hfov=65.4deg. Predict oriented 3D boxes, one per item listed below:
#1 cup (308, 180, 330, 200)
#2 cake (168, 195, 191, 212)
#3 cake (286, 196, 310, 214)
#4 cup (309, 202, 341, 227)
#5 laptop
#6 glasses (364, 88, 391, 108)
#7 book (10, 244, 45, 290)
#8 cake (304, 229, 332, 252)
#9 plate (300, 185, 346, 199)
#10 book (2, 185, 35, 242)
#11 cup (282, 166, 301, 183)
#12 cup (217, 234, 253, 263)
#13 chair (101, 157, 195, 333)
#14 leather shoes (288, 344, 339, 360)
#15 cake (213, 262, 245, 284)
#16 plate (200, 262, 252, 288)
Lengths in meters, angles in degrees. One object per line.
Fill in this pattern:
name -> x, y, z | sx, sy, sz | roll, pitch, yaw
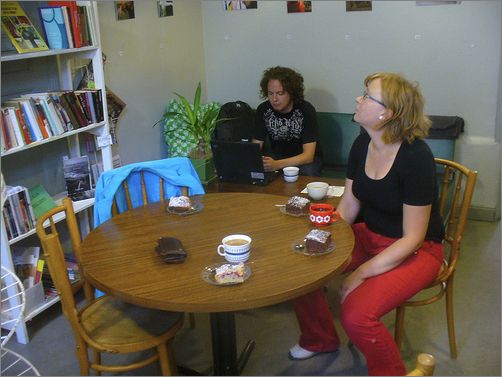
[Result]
cup -> 0.425, 0.000, 2.458 | 0.114, 0.083, 0.115 | -2, 23, 1
cake -> -0.400, 0.079, 2.143 | 0.088, 0.027, 0.091 | 0, 29, 4
cake -> 0.252, 0.074, 2.100 | 0.093, 0.058, 0.095 | 9, 25, 30
cup -> 0.364, 0.121, 1.996 | 0.101, 0.070, 0.134 | -10, 19, -27
laptop -> -0.076, -0.203, 2.961 | 0.348, 0.331, 0.380 | 6, 19, 26
glasses -> 0.641, -0.453, 1.985 | 0.096, 0.028, 0.092 | 25, 13, -17
book -> -1.499, 0.519, 2.611 | 0.197, 0.277, 0.083 | -2, 5, -5
cake -> 0.303, 0.228, 1.759 | 0.081, 0.058, 0.117 | 5, 17, 24
plate -> 0.508, 0.013, 2.635 | 0.184, 0.073, 0.120 | 4, 12, 25
book -> -1.513, 0.141, 2.528 | 0.155, 0.284, 0.240 | -12, 23, -26
cup -> 0.298, -0.107, 2.949 | 0.106, 0.081, 0.108 | -3, 16, 1
cup -> -0.068, 0.261, 1.730 | 0.136, 0.075, 0.149 | -1, 20, 0
chair -> -0.647, 0.116, 2.419 | 0.484, 0.700, 0.393 | -10, 18, -13
leather shoes -> 0.364, 0.980, 2.320 | 0.274, 0.121, 0.103 | 0, 15, -3
cake -> -0.088, 0.344, 1.590 | 0.120, 0.039, 0.115 | -3, 20, -4
plate -> -0.130, 0.353, 1.584 | 0.107, 0.019, 0.109 | 8, 19, 25
